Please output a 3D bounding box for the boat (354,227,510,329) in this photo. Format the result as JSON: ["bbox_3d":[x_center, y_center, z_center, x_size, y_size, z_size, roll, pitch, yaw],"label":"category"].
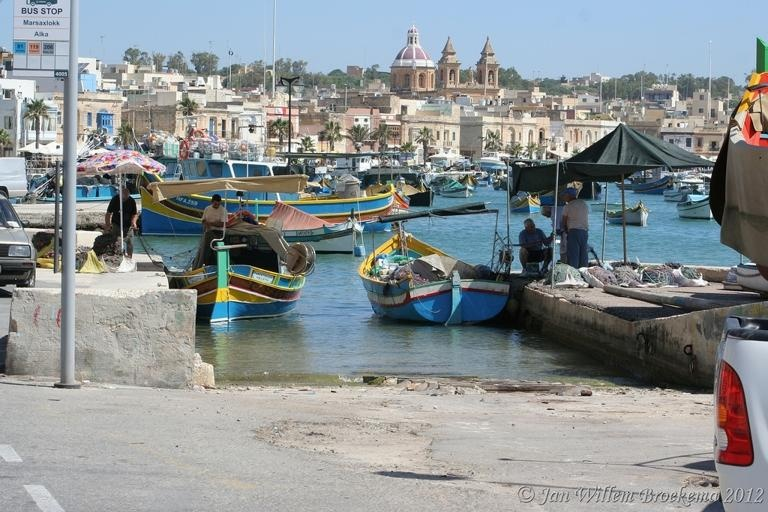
[{"bbox_3d":[0.846,0.407,27.587,2.597,1.540,4.396,-4,10,-15],"label":"boat"}]

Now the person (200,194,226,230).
[{"bbox_3d":[-3.484,-0.893,25.810,0.493,0.746,1.361,0,5,-7],"label":"person"}]

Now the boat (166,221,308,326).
[{"bbox_3d":[-3.074,0.278,27.149,2.763,1.842,4.569,7,8,0],"label":"boat"}]

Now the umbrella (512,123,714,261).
[{"bbox_3d":[4.539,-1.939,25.153,3.603,1.394,3.069,3,6,27],"label":"umbrella"}]

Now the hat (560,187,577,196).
[{"bbox_3d":[3.830,-1.318,25.734,0.352,0.146,0.480,1,5,-3],"label":"hat"}]
